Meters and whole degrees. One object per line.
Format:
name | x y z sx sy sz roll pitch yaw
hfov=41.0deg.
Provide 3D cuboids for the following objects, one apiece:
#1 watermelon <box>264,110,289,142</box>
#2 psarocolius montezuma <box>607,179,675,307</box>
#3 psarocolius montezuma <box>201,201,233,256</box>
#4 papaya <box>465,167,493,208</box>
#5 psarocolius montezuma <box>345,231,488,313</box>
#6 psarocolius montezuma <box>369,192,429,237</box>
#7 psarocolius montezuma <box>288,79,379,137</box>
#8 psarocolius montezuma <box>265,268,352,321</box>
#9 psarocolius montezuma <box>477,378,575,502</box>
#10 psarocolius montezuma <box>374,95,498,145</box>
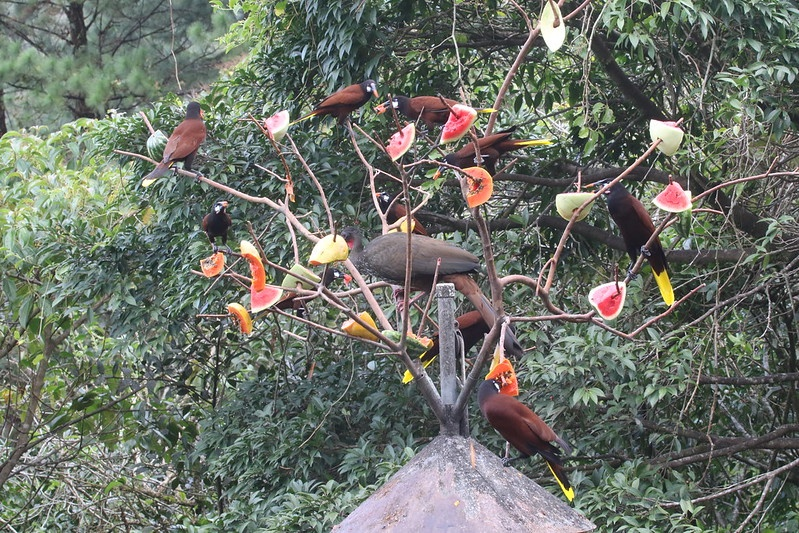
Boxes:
watermelon | -0.775 -0.914 6.902 0.175 0.111 0.180 -52 23 9
psarocolius montezuma | 1.620 -0.141 7.183 0.218 0.389 0.912 -31 51 14
psarocolius montezuma | -1.242 -0.261 7.015 0.148 0.284 0.454 -2 -4 -33
papaya | 0.467 -0.477 6.330 0.162 0.233 0.208 -10 37 1
psarocolius montezuma | 0.052 -0.069 7.136 0.982 0.551 0.486 -12 -3 6
psarocolius montezuma | -0.013 -0.436 8.000 0.157 0.242 0.511 5 2 34
psarocolius montezuma | -0.465 -1.213 7.762 0.571 0.311 0.177 1 19 7
psarocolius montezuma | -0.578 0.095 6.733 0.490 0.231 0.396 6 11 20
psarocolius montezuma | 0.776 1.033 6.482 0.641 0.701 0.263 7 12 10
psarocolius montezuma | 0.249 -1.098 7.761 0.798 0.338 0.227 -1 -10 5
